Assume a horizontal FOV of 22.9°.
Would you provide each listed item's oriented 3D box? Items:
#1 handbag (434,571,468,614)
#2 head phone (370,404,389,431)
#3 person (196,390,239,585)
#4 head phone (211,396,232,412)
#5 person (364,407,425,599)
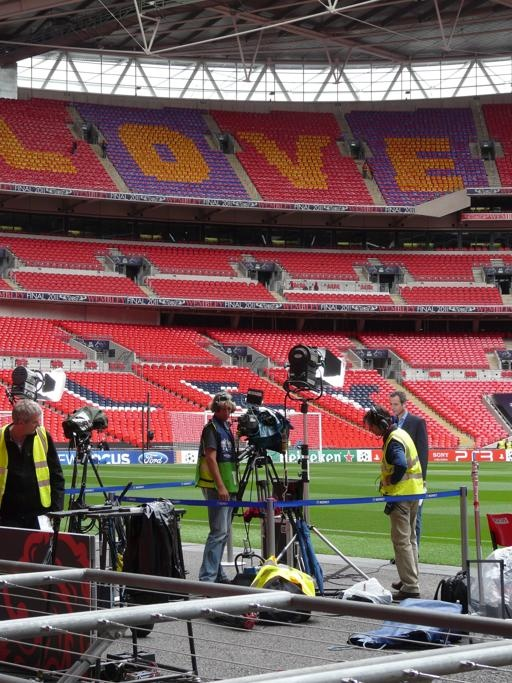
[{"bbox_3d":[1.492,1.851,9.443,0.225,0.280,0.290,0,-3,13],"label":"handbag"},{"bbox_3d":[1.018,0.639,10.447,0.072,0.169,0.179,-34,-31,1],"label":"head phone"},{"bbox_3d":[-0.329,1.212,10.625,0.361,1.593,0.709,-1,-10,-2],"label":"person"},{"bbox_3d":[-0.295,0.530,10.729,0.152,0.124,0.146,-1,-10,-12],"label":"head phone"},{"bbox_3d":[1.154,1.332,10.426,0.470,1.567,0.916,-3,-10,7],"label":"person"}]
